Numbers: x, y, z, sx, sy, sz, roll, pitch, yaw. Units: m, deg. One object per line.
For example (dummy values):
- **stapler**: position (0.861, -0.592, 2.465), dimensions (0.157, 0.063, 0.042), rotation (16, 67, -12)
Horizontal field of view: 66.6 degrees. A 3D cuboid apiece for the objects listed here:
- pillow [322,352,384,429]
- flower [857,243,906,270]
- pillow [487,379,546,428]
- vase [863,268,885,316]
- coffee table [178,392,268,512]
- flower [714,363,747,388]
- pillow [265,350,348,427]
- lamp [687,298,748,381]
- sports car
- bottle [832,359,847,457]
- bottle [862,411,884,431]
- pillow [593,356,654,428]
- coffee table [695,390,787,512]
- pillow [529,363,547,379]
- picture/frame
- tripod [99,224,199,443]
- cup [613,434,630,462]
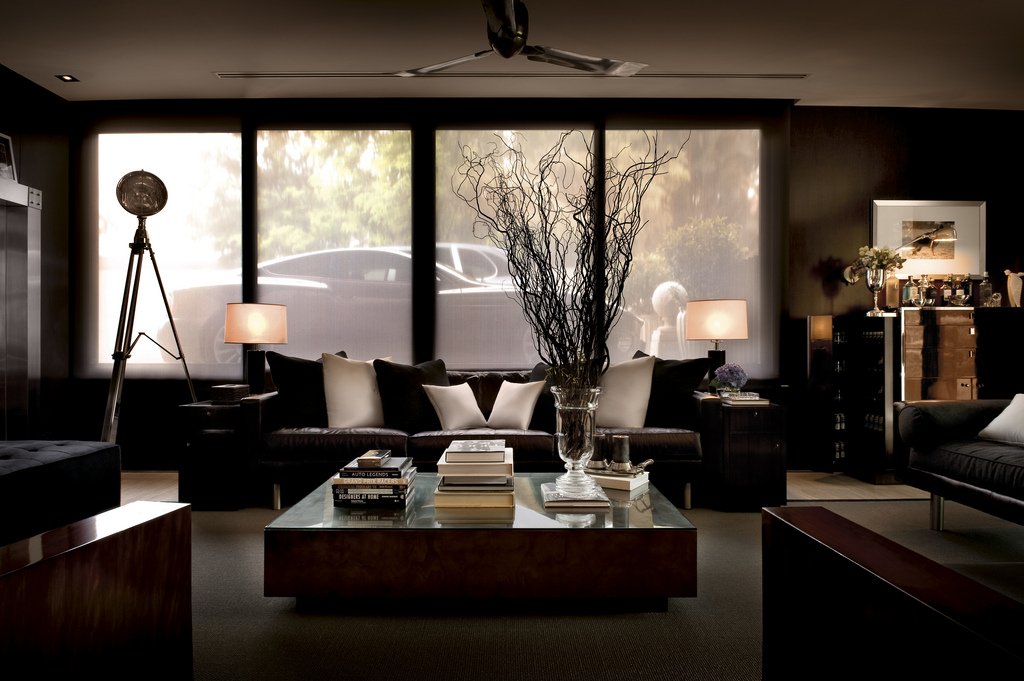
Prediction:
- **pillow**: position (-1.238, 0.443, 6.081), dimensions (0.244, 0.620, 0.628), rotation (-16, -13, 19)
- **flower**: position (3.252, -0.707, 6.856), dimensions (0.274, 0.171, 0.281), rotation (1, 0, 37)
- **pillow**: position (0.034, 0.464, 5.885), dimensions (0.381, 0.372, 0.121), rotation (5, -27, 34)
- **vase**: position (3.194, -0.449, 6.819), dimensions (0.163, 0.408, 0.600), rotation (-1, 2, 24)
- **coffee table**: position (-2.168, 0.863, 5.843), dimensions (0.564, 0.748, 0.560), rotation (-1, -14, -13)
- **flower**: position (1.675, 0.258, 5.905), dimensions (0.209, 0.182, 0.167), rotation (-1, 1, 13)
- **pillow**: position (-1.548, 0.375, 5.902), dimensions (0.514, 0.617, 0.236), rotation (-4, -2, -1)
- **lamp**: position (1.625, -0.040, 6.323), dimensions (0.431, 0.606, 0.578), rotation (-2, 2, 1)
- **sports car**: position (-1.134, -0.431, 7.398), dimensions (3.559, 1.054, 1.519), rotation (0, 0, -1)
- **bottle**: position (2.829, 0.606, 6.694), dimensions (0.112, 0.897, 0.109), rotation (-2, 2, 0)
- **bottle**: position (3.049, 0.665, 6.534), dimensions (0.046, 0.144, 0.168), rotation (-3, 3, -32)
- **pillow**: position (0.869, 0.363, 6.131), dimensions (0.249, 0.524, 0.632), rotation (-3, -1, -26)
- **coffee table**: position (1.773, 0.826, 5.979), dimensions (0.482, 0.759, 0.793), rotation (-1, 2, -1)
- **pillow**: position (0.220, 0.235, 6.119), dimensions (0.121, 0.210, 0.115), rotation (3, -9, -3)
- **picture/frame**: position (3.783, -0.917, 7.107), dimensions (0.792, 0.562, 0.032), rotation (0, -2, -2)
- **tripod**: position (-3.020, -0.093, 6.499), dimensions (0.681, 1.949, 1.342), rotation (-2, 2, -22)
- **cup**: position (0.654, 0.641, 4.681), dimensions (0.094, 0.164, 0.119), rotation (-1, 2, 7)
